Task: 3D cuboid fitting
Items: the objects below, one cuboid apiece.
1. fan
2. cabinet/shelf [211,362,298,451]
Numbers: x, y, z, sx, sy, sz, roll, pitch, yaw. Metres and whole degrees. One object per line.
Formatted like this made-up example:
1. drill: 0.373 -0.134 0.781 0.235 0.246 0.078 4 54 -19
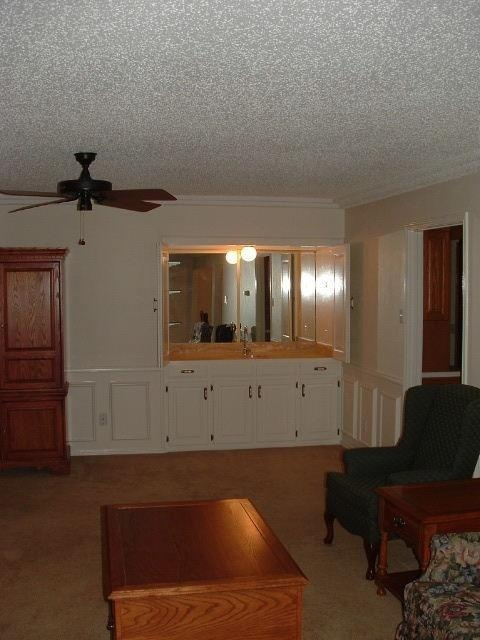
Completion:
1. fan: -1.123 -0.968 3.722 0.916 0.443 1.847 2 6 -25
2. cabinet/shelf: 0.118 0.968 5.907 0.904 0.921 0.365 0 4 -3
